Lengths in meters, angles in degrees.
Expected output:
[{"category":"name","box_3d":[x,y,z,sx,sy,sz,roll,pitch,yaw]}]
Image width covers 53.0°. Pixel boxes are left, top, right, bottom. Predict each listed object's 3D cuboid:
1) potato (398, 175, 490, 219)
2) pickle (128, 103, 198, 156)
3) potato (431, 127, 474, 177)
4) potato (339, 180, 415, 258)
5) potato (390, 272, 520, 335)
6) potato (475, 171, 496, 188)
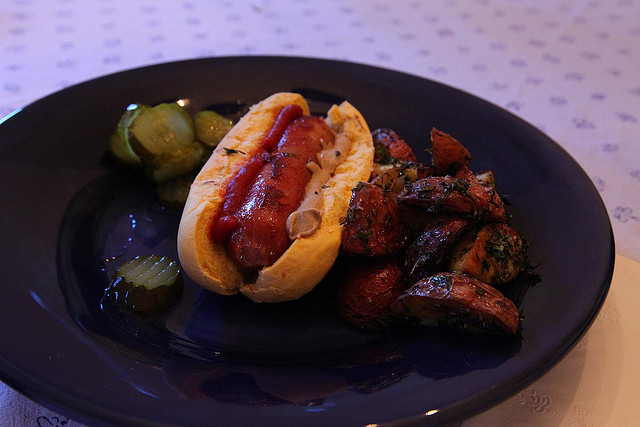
[{"category":"potato","box_3d":[0.641,-0.091,3.289,0.448,0.219,0.130,15,-11,0]},{"category":"pickle","box_3d":[-0.915,-0.496,3.744,0.354,0.264,0.085,-34,-1,-27]},{"category":"potato","box_3d":[0.700,-0.324,3.443,0.210,0.258,0.122,-16,27,-31]},{"category":"potato","box_3d":[0.272,0.018,3.369,0.345,0.344,0.436,-20,33,-29]},{"category":"potato","box_3d":[0.661,0.425,3.178,0.656,0.242,0.281,5,25,19]},{"category":"potato","box_3d":[0.907,-0.184,3.472,0.095,0.094,0.032,-7,-41,-14]}]
